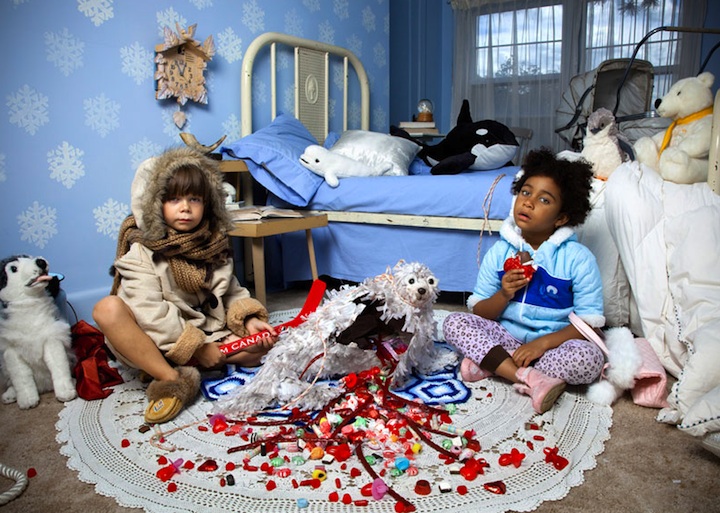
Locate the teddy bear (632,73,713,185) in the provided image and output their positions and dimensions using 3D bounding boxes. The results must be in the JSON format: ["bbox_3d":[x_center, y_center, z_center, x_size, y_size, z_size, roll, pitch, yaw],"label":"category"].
[{"bbox_3d":[1.292,-0.536,2.189,0.276,0.404,0.557,7,20,28],"label":"teddy bear"}]

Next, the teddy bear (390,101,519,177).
[{"bbox_3d":[0.528,-0.591,3.115,0.534,0.377,0.690,-25,17,-40],"label":"teddy bear"}]

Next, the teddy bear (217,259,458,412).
[{"bbox_3d":[-0.089,0.290,1.860,0.889,0.438,0.346,-10,12,-26],"label":"teddy bear"}]

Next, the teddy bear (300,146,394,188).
[{"bbox_3d":[-0.097,-0.488,2.902,0.379,0.155,0.249,16,13,-18],"label":"teddy bear"}]

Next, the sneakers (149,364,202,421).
[{"bbox_3d":[-0.611,0.442,1.744,0.106,0.069,0.186,2,25,10],"label":"sneakers"}]

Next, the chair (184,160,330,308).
[{"bbox_3d":[-0.509,-0.241,2.947,0.655,1.029,0.715,-8,14,-31],"label":"chair"}]

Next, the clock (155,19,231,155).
[{"bbox_3d":[-0.893,-0.920,2.759,0.068,0.535,0.387,12,22,38],"label":"clock"}]

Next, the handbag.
[{"bbox_3d":[0.852,0.347,1.802,0.308,0.118,0.240,11,35,12],"label":"handbag"}]

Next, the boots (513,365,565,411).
[{"bbox_3d":[0.585,0.419,1.778,0.126,0.068,0.185,-31,31,-21],"label":"boots"}]
